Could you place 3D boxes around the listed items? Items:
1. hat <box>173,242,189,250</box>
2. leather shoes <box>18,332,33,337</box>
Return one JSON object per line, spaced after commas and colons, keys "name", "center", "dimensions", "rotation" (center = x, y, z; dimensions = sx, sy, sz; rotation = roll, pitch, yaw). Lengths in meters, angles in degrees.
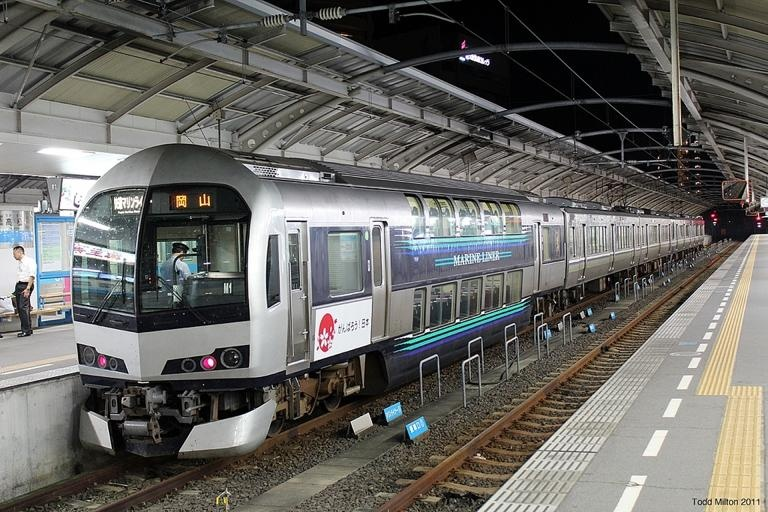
{"name": "hat", "center": [-3.083, -0.165, 7.418], "dimensions": [0.175, 0.045, 0.114], "rotation": [4, -2, 15]}
{"name": "leather shoes", "center": [-11.062, 2.374, 15.177], "dimensions": [0.486, 0.169, 0.152], "rotation": [3, 2, 6]}
